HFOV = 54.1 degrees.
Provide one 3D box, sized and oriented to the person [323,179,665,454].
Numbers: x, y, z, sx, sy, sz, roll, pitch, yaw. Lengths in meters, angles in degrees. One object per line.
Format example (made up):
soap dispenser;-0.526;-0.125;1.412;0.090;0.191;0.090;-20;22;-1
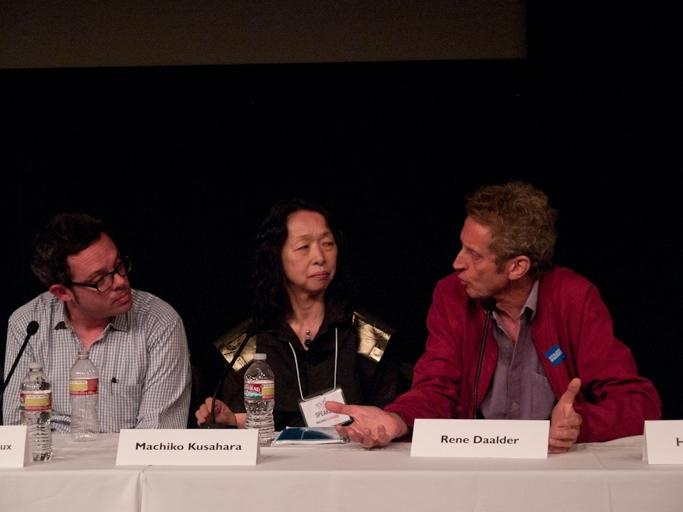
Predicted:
person;0.681;0.173;2.626;0.976;1.109;0.947;-3;-7;24

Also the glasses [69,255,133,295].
glasses;-1.087;0.097;3.088;0.187;0.054;0.179;-8;21;25
